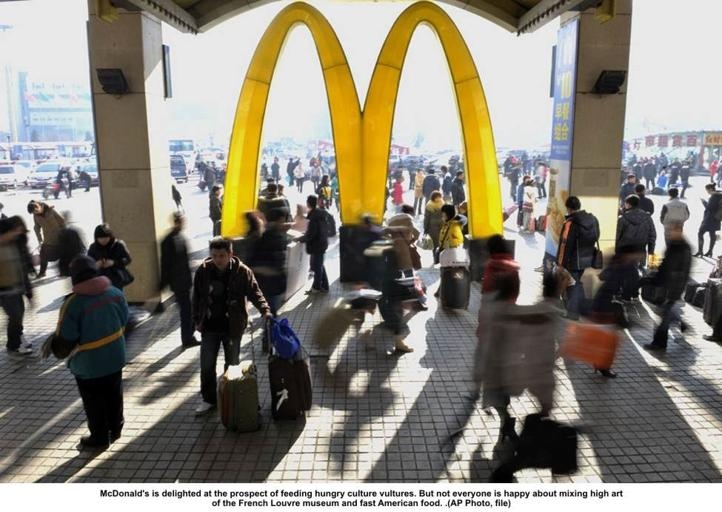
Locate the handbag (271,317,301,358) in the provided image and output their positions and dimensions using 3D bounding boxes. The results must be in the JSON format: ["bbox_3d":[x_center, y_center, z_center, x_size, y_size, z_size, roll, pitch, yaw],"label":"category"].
[{"bbox_3d":[-0.988,1.057,6.611,0.335,0.514,0.325,9,18,33],"label":"handbag"}]

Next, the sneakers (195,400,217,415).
[{"bbox_3d":[-2.116,2.060,6.948,0.113,0.137,0.319,25,7,23],"label":"sneakers"}]

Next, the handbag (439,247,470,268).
[{"bbox_3d":[1.914,0.005,10.306,0.501,0.418,0.365,-21,33,-33],"label":"handbag"}]

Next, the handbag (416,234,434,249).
[{"bbox_3d":[1.456,-0.230,11.338,0.394,0.389,0.394,3,27,-2],"label":"handbag"}]

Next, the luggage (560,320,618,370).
[{"bbox_3d":[2.793,1.149,6.374,0.751,0.528,0.433,11,-18,-18],"label":"luggage"}]

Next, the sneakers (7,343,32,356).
[{"bbox_3d":[-5.814,1.589,8.770,0.487,0.230,0.181,0,7,-12],"label":"sneakers"}]

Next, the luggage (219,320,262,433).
[{"bbox_3d":[-1.570,1.806,6.520,0.525,0.834,0.379,-3,15,-7],"label":"luggage"}]

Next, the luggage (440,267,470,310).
[{"bbox_3d":[1.958,0.598,10.531,0.695,0.983,0.685,7,14,24],"label":"luggage"}]

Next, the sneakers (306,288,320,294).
[{"bbox_3d":[-1.111,0.805,11.713,0.299,0.138,0.123,3,6,1],"label":"sneakers"}]
